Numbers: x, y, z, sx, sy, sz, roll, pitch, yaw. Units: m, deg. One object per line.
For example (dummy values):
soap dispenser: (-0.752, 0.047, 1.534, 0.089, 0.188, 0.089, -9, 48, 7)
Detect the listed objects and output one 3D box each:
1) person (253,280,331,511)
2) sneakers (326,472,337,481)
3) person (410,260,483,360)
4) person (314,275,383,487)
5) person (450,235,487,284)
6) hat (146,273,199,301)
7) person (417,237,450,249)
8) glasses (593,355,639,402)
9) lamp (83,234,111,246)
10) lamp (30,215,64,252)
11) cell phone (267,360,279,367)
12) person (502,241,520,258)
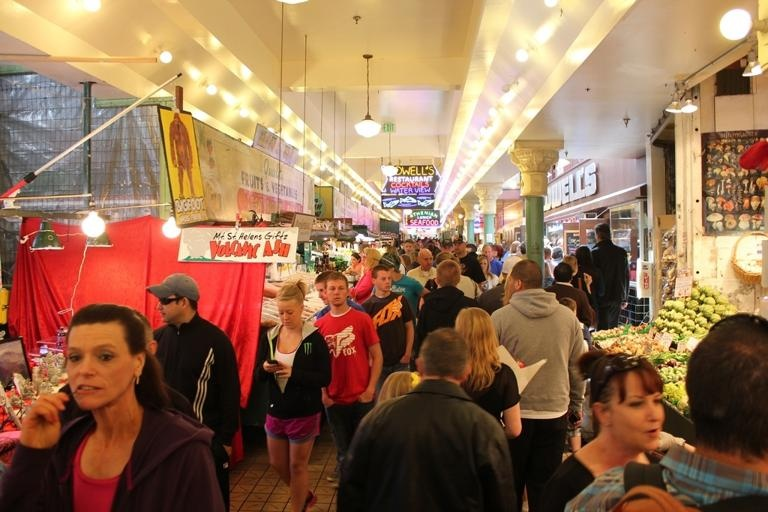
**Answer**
person: (-0.770, 1.203, 4.395, 0.611, 1.902, 0.291, 0, -1, -6)
sneakers: (-0.517, 2.190, 5.106, 0.070, 0.068, 0.154, 6, 13, 2)
person: (0.694, 0.874, 5.690, 0.759, 1.633, 0.532, -5, 23, -10)
person: (-0.352, 1.205, 4.969, 0.717, 2.105, 0.543, -6, 13, -7)
person: (1.199, 0.049, 7.465, 0.673, 0.248, 0.705, -10, 24, -20)
hat: (-1.629, 0.265, 3.996, 0.314, 0.171, 0.207, 13, -9, -22)
person: (1.531, -0.436, 16.667, 1.302, 0.389, 0.419, 0, 20, 2)
glasses: (1.226, 0.629, 2.782, 0.200, 0.260, 0.159, 7, 5, -4)
lamp: (-3.214, -0.170, 5.859, 0.176, 0.121, 0.191, 2, 7, -5)
lamp: (-3.847, -0.237, 5.826, 0.423, 0.441, 0.411, -1, -2, -5)
cell phone: (-0.894, 0.849, 4.098, 0.067, 0.043, 0.114, -1, -1, 42)
person: (3.347, -0.186, 13.639, 0.502, 0.505, 0.873, 0, 4, 17)
